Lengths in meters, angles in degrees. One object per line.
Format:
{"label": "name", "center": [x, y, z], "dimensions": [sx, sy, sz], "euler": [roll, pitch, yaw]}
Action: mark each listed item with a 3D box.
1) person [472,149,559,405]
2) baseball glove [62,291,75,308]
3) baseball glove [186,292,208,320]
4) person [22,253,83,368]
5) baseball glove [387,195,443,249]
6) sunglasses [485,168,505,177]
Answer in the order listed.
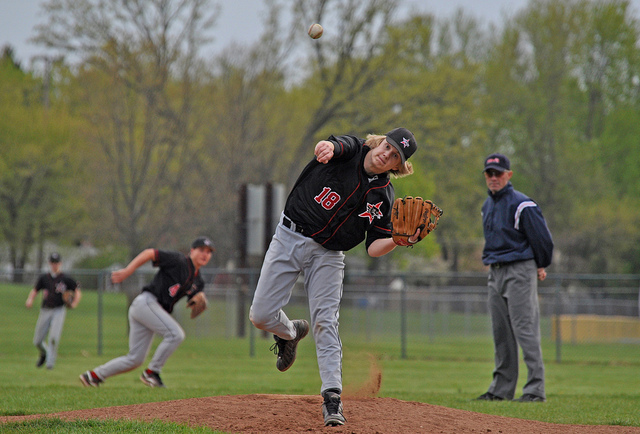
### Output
{"label": "person", "center": [3.042, 0.937, 20.149], "dimensions": [1.012, 3.796, 0.568], "euler": [0, -9, 7]}
{"label": "baseball glove", "center": [-3.989, 1.311, 20.720], "dimensions": [0.187, 0.231, 0.119], "euler": [3, -9, -14]}
{"label": "baseball glove", "center": [-1.922, 1.434, 20.807], "dimensions": [0.298, 0.411, 0.116], "euler": [29, 7, 24]}
{"label": "person", "center": [-4.270, 1.495, 20.858], "dimensions": [0.790, 1.752, 0.802], "euler": [6, -10, -30]}
{"label": "baseball glove", "center": [1.353, 0.080, 18.786], "dimensions": [0.726, 0.706, 0.349], "euler": [-2, -6, 28]}
{"label": "sunglasses", "center": [2.712, -0.687, 20.211], "dimensions": [0.134, 0.076, 0.188], "euler": [8, -16, 23]}
